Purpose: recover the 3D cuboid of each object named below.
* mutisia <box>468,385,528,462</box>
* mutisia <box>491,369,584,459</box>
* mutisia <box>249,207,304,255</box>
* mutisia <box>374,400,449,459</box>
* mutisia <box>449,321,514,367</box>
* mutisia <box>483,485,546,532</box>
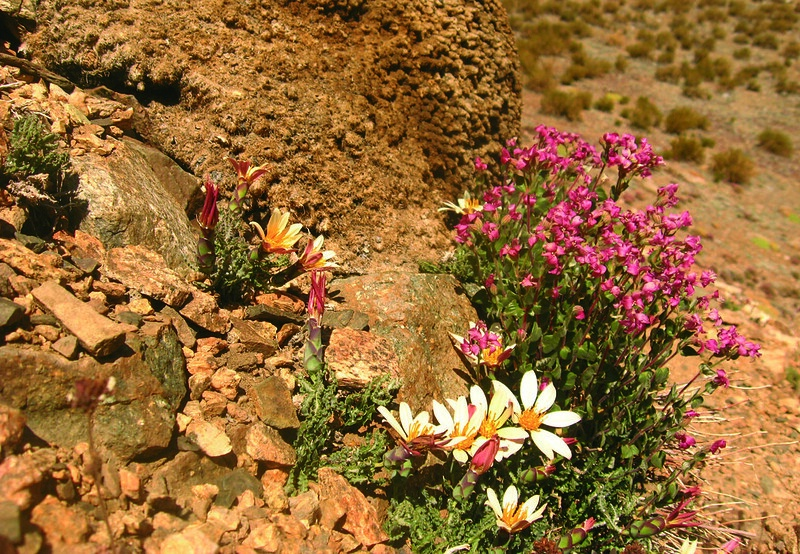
[{"bbox_3d":[0.766,1.217,6.467,0.486,0.191,0.541,32,64,1],"label":"mutisia"},{"bbox_3d":[1.096,1.103,6.655,0.600,0.245,0.744,8,71,-9],"label":"mutisia"},{"bbox_3d":[-1.035,-0.356,7.072,0.379,0.170,0.383,-35,100,-27],"label":"mutisia"},{"bbox_3d":[0.139,1.229,6.393,0.414,0.224,0.429,33,7,12],"label":"mutisia"},{"bbox_3d":[0.721,0.621,6.939,0.395,0.209,0.404,20,71,27],"label":"mutisia"},{"bbox_3d":[0.891,1.753,6.310,0.362,0.231,0.349,3,12,-26],"label":"mutisia"}]
